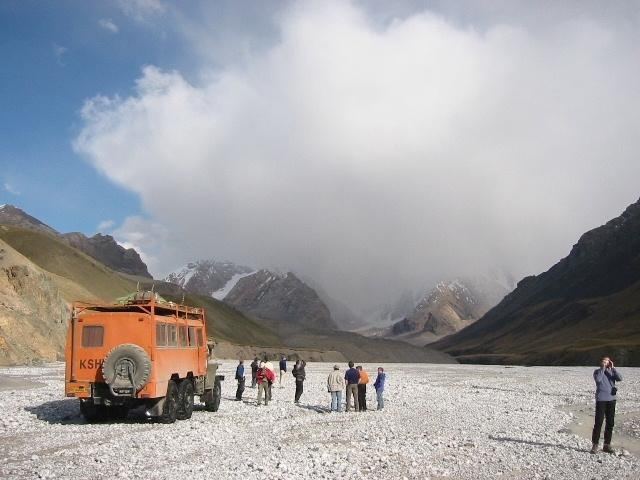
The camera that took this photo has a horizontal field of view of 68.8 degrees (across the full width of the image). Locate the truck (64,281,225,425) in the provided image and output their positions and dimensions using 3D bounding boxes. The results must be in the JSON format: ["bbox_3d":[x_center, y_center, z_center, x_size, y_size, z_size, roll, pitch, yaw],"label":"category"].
[{"bbox_3d":[-9.193,6.204,25.912,4.807,6.027,9.509,-2,-8,13],"label":"truck"}]
